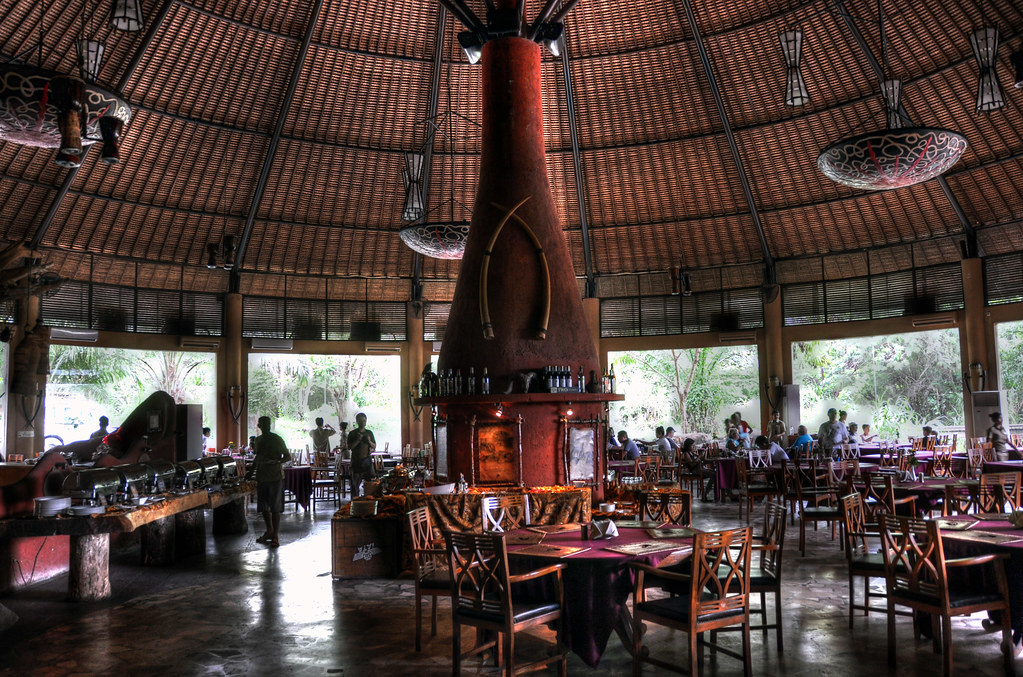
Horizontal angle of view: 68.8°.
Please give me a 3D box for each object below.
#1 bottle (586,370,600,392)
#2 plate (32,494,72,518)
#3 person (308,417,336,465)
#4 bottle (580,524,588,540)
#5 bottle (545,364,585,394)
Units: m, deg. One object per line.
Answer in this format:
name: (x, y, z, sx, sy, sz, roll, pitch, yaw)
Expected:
bottle: (1.184, 0.618, 10.823, 0.215, 0.345, 0.335, 0, -9, 6)
plate: (-5.090, 1.854, 8.244, 0.221, 0.147, 0.281, 0, -7, 3)
person: (-4.048, 2.268, 15.895, 0.531, 1.192, 0.361, 6, 14, 13)
bottle: (0.691, 1.857, 7.187, 0.099, 0.166, 0.126, -1, -4, -6)
bottle: (0.789, 0.584, 10.588, 0.711, 0.421, 0.223, 8, -11, -39)
